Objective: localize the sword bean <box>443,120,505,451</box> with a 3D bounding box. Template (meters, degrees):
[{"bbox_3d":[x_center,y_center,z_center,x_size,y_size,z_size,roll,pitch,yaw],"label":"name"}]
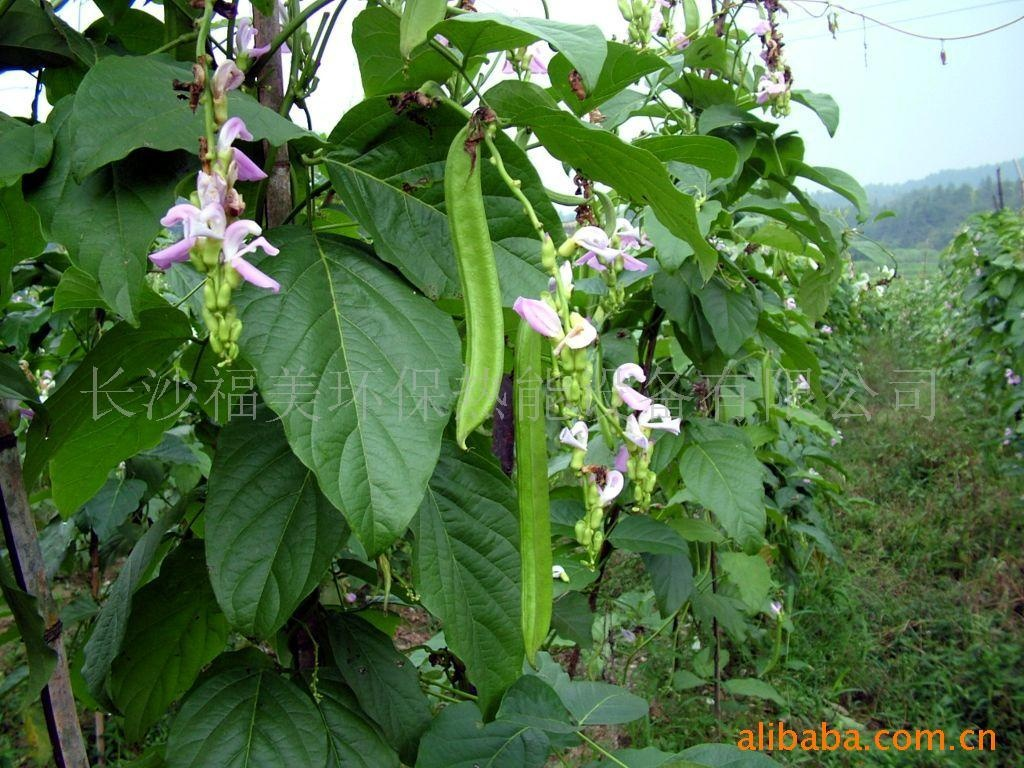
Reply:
[{"bbox_3d":[-0.058,-0.149,1.174,0.083,0.526,0.041,4,-10,-19],"label":"sword bean"}]

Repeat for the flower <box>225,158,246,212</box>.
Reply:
[{"bbox_3d":[-0.423,-0.296,1.180,0.023,0.087,0.041,-9,-7,0],"label":"flower"}]

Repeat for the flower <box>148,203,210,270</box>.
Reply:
[{"bbox_3d":[-0.484,-0.219,1.151,0.079,0.114,0.035,11,-1,30],"label":"flower"}]
